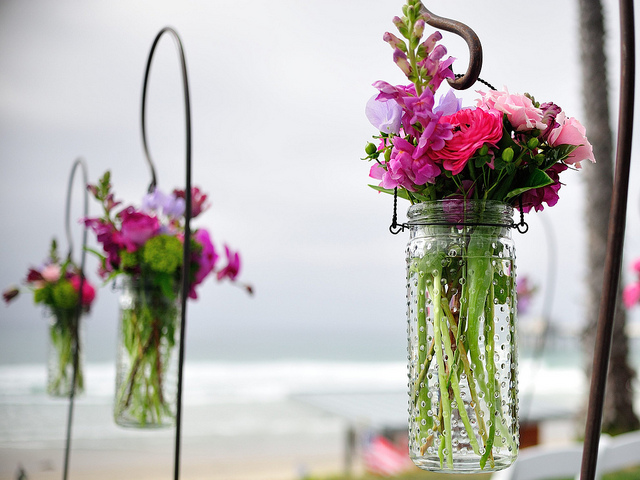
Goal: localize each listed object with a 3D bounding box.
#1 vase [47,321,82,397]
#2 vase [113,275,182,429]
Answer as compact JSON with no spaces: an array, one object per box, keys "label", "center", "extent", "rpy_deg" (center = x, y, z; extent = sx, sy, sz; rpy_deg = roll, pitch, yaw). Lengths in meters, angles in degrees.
[{"label":"vase","center":[-1.009,0.463,3.561],"extent":[0.139,0.297,0.057],"rpy_deg":[-1,-2,12]},{"label":"vase","center":[-0.627,0.419,3.314],"extent":[0.135,0.581,0.263],"rpy_deg":[2,-8,-24]}]
